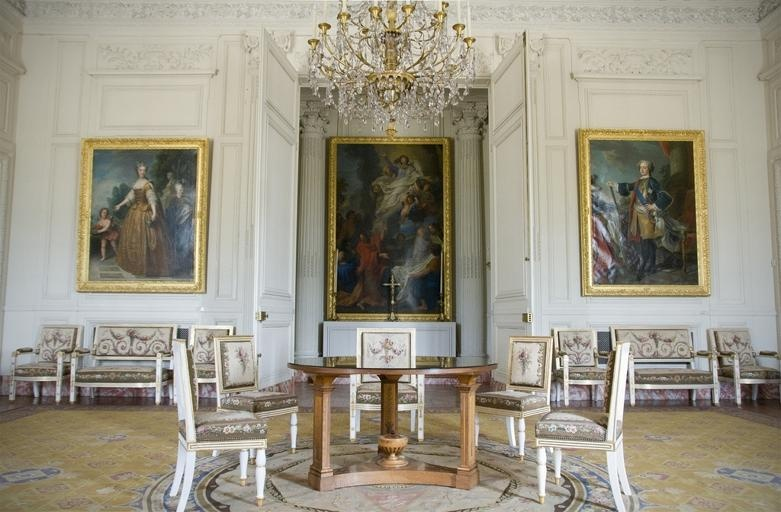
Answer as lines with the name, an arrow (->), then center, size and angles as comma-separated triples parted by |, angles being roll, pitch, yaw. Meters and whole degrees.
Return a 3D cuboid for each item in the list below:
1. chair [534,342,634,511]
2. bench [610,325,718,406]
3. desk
chair -> 1.889, 1.560, 5.925 | 0.858, 1.491, 0.941 | 1, 4, 20
bench -> 3.845, 1.570, 8.691 | 1.284, 1.129, 0.930 | 0, -10, 2
desk -> 0.029, 1.771, 6.571 | 2.160, 1.249, 2.141 | 4, -8, -33
